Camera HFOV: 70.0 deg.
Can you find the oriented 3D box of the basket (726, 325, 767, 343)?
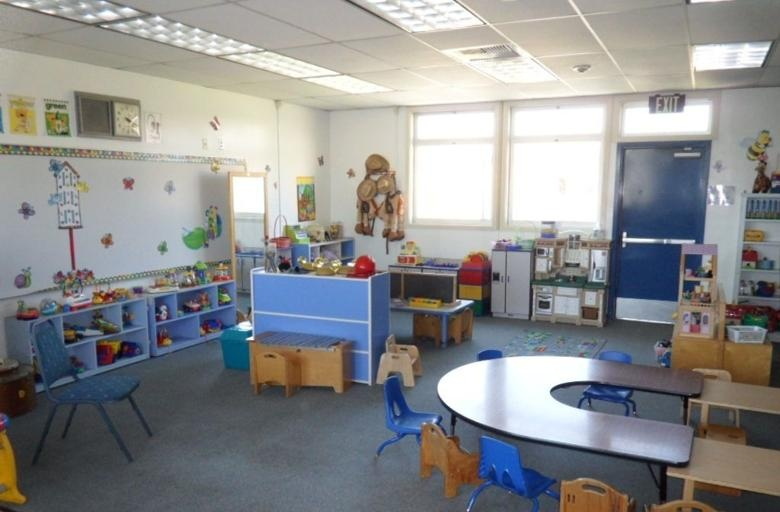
[{"bbox_3d":[4.485,0.984,6.965,0.345,0.130,0.239,1,4,16],"label":"basket"}]

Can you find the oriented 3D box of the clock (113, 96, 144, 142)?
[{"bbox_3d":[-3.813,-1.977,8.085,0.078,0.593,0.448,6,11,29],"label":"clock"}]

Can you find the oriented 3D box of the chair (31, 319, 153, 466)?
[{"bbox_3d":[-3.494,1.403,6.423,1.438,1.410,1.497,-2,10,-11],"label":"chair"}]

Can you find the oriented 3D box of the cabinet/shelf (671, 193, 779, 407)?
[{"bbox_3d":[4.790,0.572,7.784,1.524,2.694,2.859,2,5,30],"label":"cabinet/shelf"}]

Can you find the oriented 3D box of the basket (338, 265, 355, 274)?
[{"bbox_3d":[-0.566,0.190,7.558,0.272,0.119,0.171,4,10,22],"label":"basket"}]

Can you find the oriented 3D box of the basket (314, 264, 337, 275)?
[{"bbox_3d":[-0.869,0.192,7.562,0.270,0.137,0.146,4,10,23],"label":"basket"}]

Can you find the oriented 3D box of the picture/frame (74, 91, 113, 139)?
[{"bbox_3d":[-4.123,-1.960,7.761,0.105,0.575,0.471,7,12,36],"label":"picture/frame"}]

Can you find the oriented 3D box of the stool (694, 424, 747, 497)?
[{"bbox_3d":[3.520,2.159,5.913,0.543,0.177,0.843,1,36,25],"label":"stool"}]
